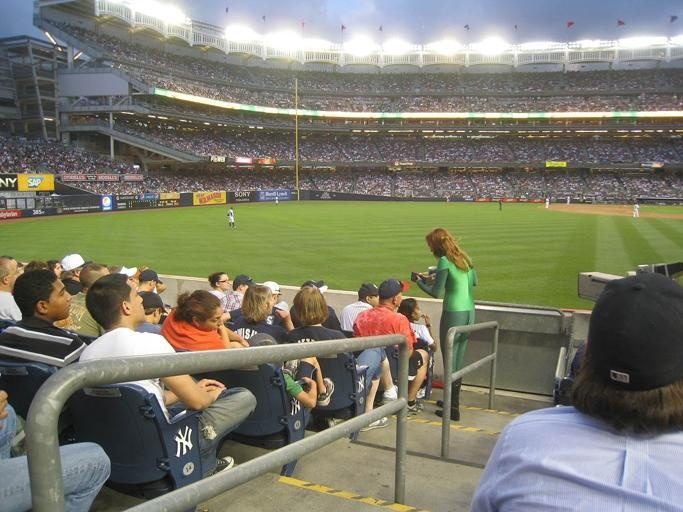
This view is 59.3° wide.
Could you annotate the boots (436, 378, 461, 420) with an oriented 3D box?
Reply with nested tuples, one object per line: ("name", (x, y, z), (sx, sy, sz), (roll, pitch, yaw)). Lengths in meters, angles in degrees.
("boots", (0.940, 1.261, 5.274), (0.217, 0.406, 0.818), (0, 6, 10))

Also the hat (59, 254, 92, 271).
("hat", (-3.383, 0.128, 7.669), (0.285, 0.182, 0.363), (9, 20, 28))

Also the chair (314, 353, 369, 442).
("chair", (-0.074, 1.074, 4.827), (0.527, 0.538, 0.528), (-8, -17, 17))

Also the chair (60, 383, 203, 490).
("chair", (-1.134, 1.062, 3.493), (0.691, 0.591, 0.607), (-8, -10, 34))

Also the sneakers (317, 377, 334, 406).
("sneakers", (-0.098, 1.024, 4.490), (0.096, 0.087, 0.236), (-2, 24, 12))

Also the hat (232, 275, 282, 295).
("hat", (-0.997, 0.333, 7.049), (0.569, 0.167, 0.318), (2, 3, -5))
